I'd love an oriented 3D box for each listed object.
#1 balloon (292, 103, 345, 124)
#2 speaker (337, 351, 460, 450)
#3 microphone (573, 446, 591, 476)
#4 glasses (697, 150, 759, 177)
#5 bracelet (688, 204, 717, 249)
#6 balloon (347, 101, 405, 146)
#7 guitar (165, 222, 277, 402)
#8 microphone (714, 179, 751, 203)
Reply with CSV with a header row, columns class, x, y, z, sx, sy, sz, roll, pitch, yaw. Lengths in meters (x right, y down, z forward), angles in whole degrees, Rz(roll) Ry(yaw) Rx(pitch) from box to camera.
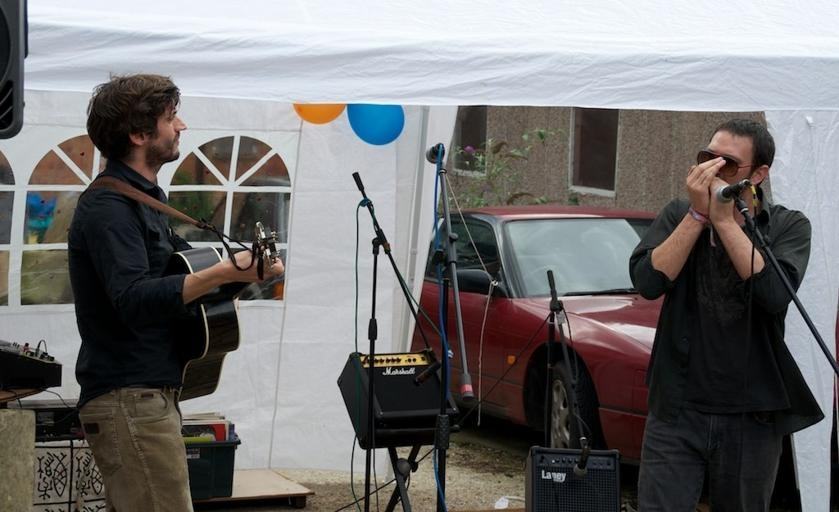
class,x,y,z,sx,sy,sz,roll,pitch,yaw
balloon,-0.744,-1.052,7.741,0.396,0.149,0.544,-2,2,-2
speaker,-0.186,0.883,6.764,0.741,0.768,0.556,0,-43,-21
microphone,0.976,1.230,6.392,0.100,0.193,0.112,-1,3,8
glasses,1.710,-0.520,5.938,0.297,0.157,0.123,-1,2,17
bracelet,1.589,-0.167,5.939,0.053,0.219,0.165,-2,-15,41
balloon,-0.331,-0.976,7.856,0.485,0.305,0.184,-1,3,30
guitar,-1.119,0.387,6.030,0.638,1.257,0.512,1,1,-1
microphone,1.699,-0.353,5.813,0.083,0.089,0.293,34,-18,-2
